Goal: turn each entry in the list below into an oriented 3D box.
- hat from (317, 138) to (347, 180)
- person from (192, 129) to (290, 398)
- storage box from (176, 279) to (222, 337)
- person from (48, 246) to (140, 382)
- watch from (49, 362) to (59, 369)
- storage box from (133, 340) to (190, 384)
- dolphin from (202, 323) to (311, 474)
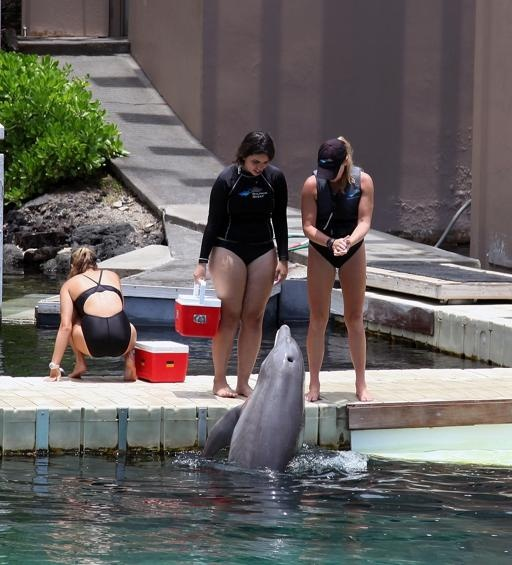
[{"bbox_3d":[0.406,-0.647,5.883,0.145,0.203,0.103,-1,11,0],"label":"hat"},{"bbox_3d":[-0.071,-0.114,6.199,0.514,1.452,0.457,1,1,-5],"label":"person"},{"bbox_3d":[-0.343,0.161,6.161,0.230,0.316,0.272,-4,13,-20],"label":"storage box"},{"bbox_3d":[-1.014,0.182,6.770,0.712,0.924,0.729,0,5,-14],"label":"person"},{"bbox_3d":[-1.145,0.470,6.374,0.049,0.047,0.067,-3,11,-13],"label":"watch"},{"bbox_3d":[-0.550,0.465,6.679,0.223,0.239,0.383,2,-2,-18],"label":"storage box"},{"bbox_3d":[0.017,0.563,5.520,0.473,0.653,0.504,12,20,35],"label":"dolphin"}]
